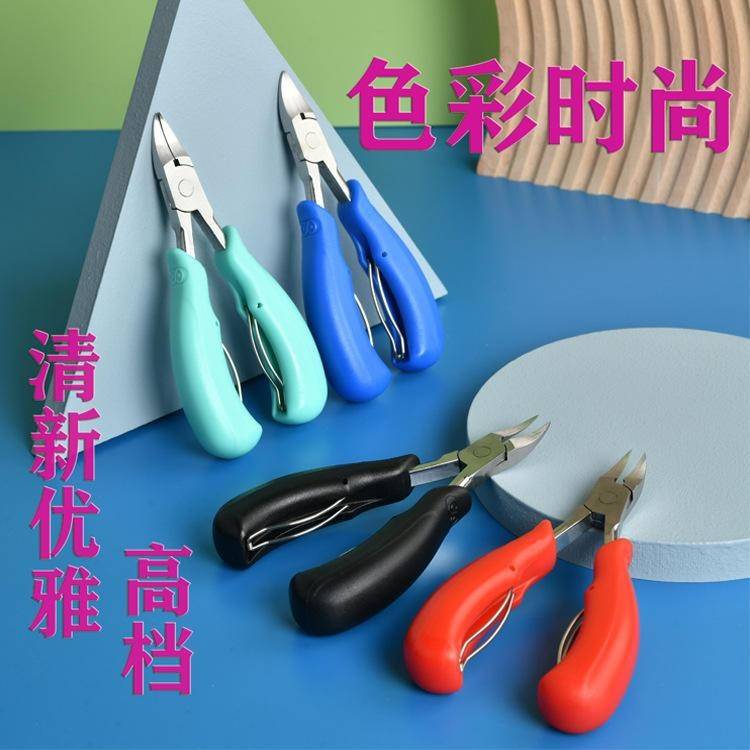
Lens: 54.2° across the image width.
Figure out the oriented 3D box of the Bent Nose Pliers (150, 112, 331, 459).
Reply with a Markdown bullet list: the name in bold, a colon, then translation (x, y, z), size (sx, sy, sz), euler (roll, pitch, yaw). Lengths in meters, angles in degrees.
- **Bent Nose Pliers**: translation (-0.126, -0.060, 0.563), size (0.118, 0.238, 0.125), euler (-34, 43, -26)

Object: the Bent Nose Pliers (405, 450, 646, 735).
- **Bent Nose Pliers**: translation (0.111, 0.114, 0.419), size (0.111, 0.043, 0.224), euler (2, 21, 35)

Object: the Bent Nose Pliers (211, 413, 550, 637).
- **Bent Nose Pliers**: translation (0.010, 0.056, 0.436), size (0.200, 0.038, 0.094), euler (-25, 42, -30)

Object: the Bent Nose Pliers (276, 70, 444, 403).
- **Bent Nose Pliers**: translation (-0.034, -0.095, 0.659), size (0.115, 0.300, 0.046), euler (-22, 0, -26)
